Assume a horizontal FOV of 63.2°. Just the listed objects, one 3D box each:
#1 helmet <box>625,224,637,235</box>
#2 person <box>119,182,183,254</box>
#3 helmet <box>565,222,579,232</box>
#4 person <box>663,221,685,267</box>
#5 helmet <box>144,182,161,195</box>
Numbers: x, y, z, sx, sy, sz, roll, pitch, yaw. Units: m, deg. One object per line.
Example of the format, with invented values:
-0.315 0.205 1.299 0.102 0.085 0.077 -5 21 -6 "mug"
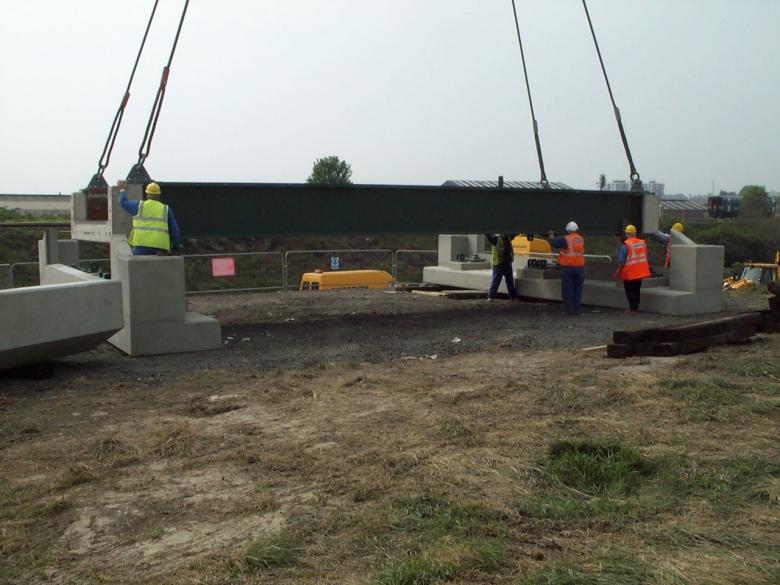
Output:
5.811 -1.496 15.278 0.265 0.208 0.374 3 13 15 "helmet"
-4.438 -1.357 11.762 0.984 1.377 0.803 -6 10 -23 "person"
4.525 -1.619 15.771 0.245 0.156 0.346 1 7 9 "helmet"
7.569 -1.246 16.937 0.355 1.327 1.847 2 11 22 "person"
-4.379 -1.908 11.700 0.215 0.170 0.281 0 11 -28 "helmet"
